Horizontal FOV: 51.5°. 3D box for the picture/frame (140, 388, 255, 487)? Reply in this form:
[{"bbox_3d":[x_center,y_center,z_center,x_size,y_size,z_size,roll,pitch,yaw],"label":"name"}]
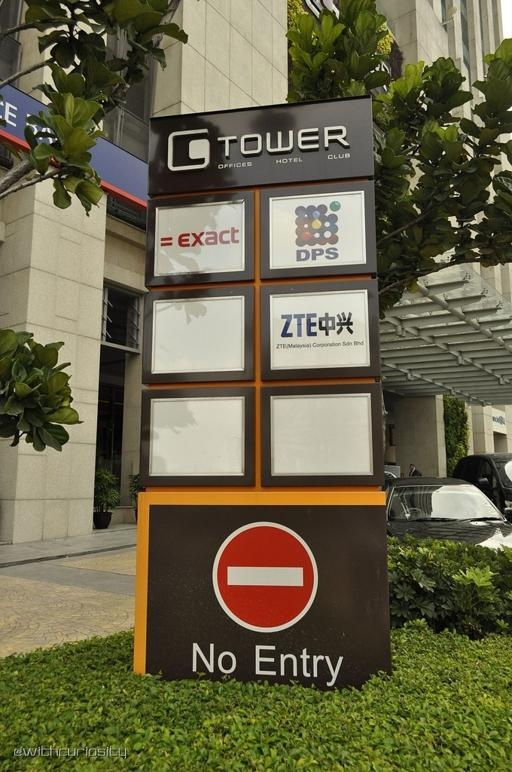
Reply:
[{"bbox_3d":[-0.330,0.330,3.230,0.567,0.524,0.045,0,-10,5],"label":"picture/frame"}]

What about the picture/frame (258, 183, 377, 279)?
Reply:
[{"bbox_3d":[0.399,-0.947,3.312,0.594,0.537,0.064,-1,-2,11],"label":"picture/frame"}]

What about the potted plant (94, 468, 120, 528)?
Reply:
[{"bbox_3d":[-4.406,3.242,15.192,0.828,1.639,0.892,-17,-20,41],"label":"potted plant"}]

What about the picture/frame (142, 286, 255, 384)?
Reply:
[{"bbox_3d":[-0.335,-0.300,3.341,0.576,0.518,0.047,0,-9,7],"label":"picture/frame"}]

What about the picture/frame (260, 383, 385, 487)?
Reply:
[{"bbox_3d":[0.401,0.307,3.108,0.561,0.502,0.050,-2,-13,7],"label":"picture/frame"}]

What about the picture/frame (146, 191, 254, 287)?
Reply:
[{"bbox_3d":[-0.338,-0.934,3.455,0.613,0.550,0.048,0,-4,10],"label":"picture/frame"}]
